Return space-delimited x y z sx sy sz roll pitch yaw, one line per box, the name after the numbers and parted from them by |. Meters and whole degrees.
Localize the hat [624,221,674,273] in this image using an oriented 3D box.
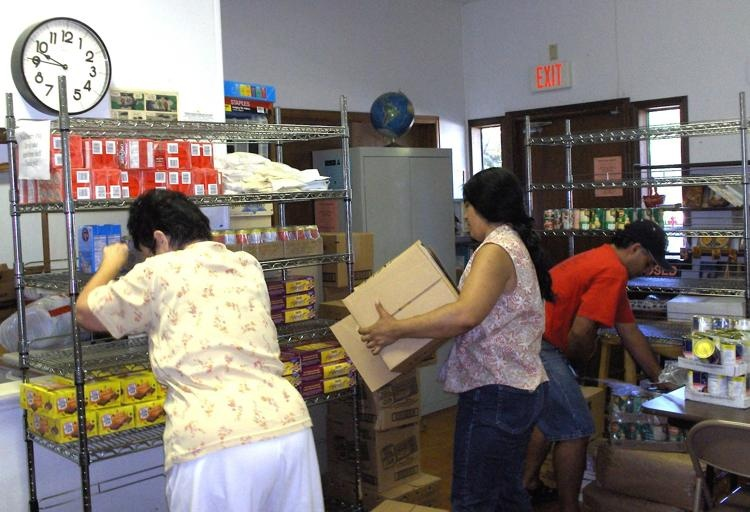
1.612 -0.075 3.428 0.187 0.287 0.252 13 14 43 | hat

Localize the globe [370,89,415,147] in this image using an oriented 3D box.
0.163 -1.200 5.131 0.449 0.536 0.448 -3 5 1 | globe
